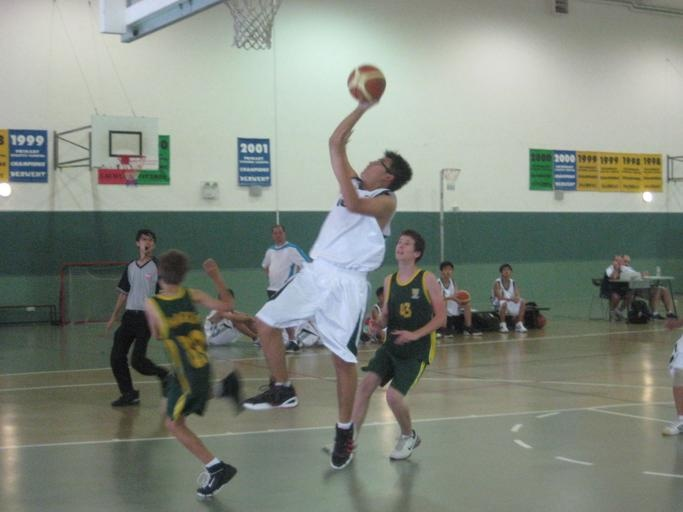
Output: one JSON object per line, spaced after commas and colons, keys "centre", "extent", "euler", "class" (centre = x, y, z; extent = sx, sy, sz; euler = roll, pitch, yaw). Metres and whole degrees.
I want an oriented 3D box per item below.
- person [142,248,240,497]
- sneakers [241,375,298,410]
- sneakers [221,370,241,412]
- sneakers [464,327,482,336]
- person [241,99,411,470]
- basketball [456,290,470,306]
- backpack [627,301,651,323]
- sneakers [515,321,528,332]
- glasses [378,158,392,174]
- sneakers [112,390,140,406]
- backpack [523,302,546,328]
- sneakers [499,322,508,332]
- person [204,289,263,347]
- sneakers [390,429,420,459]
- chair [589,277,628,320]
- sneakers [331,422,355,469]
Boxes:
{"centre": [-1.060, 0.802, 4.436], "extent": [0.640, 1.689, 0.476], "euler": [-1, 2, -6], "class": "person"}
{"centre": [-0.612, 1.200, 5.438], "extent": [0.524, 0.319, 0.203], "euler": [2, -3, -8], "class": "sneakers"}
{"centre": [-0.820, 0.991, 4.565], "extent": [0.161, 0.272, 0.083], "euler": [3, -12, -27], "class": "sneakers"}
{"centre": [2.352, 1.363, 11.315], "extent": [0.283, 0.144, 0.132], "euler": [1, 0, 14], "class": "sneakers"}
{"centre": [-0.122, 0.210, 4.966], "extent": [1.113, 2.751, 0.657], "euler": [0, 2, 18], "class": "person"}
{"centre": [2.166, 0.756, 11.286], "extent": [0.224, 0.218, 0.203], "euler": [-1, 2, 7], "class": "basketball"}
{"centre": [5.888, 1.093, 12.372], "extent": [0.465, 0.454, 0.319], "euler": [0, 2, 14], "class": "backpack"}
{"centre": [3.333, 1.323, 11.631], "extent": [0.100, 0.144, 0.274], "euler": [-1, -3, -8], "class": "sneakers"}
{"centre": [0.350, -0.718, 5.022], "extent": [0.033, 0.131, 0.097], "euler": [-20, 1, -18], "class": "glasses"}
{"centre": [-2.211, 1.463, 6.443], "extent": [0.308, 0.165, 0.122], "euler": [-2, -5, 4], "class": "sneakers"}
{"centre": [3.788, 1.181, 12.301], "extent": [0.483, 0.550, 0.374], "euler": [0, 1, 2], "class": "backpack"}
{"centre": [3.022, 1.315, 11.670], "extent": [0.169, 0.193, 0.397], "euler": [0, 2, 15], "class": "sneakers"}
{"centre": [-1.763, 1.028, 10.113], "extent": [0.900, 0.898, 0.599], "euler": [-6, 5, -6], "class": "person"}
{"centre": [0.501, 1.490, 4.974], "extent": [0.113, 0.144, 0.329], "euler": [-16, 18, 41], "class": "sneakers"}
{"centre": [5.551, 0.942, 13.104], "extent": [0.828, 1.240, 1.172], "euler": [0, 0, 32], "class": "chair"}
{"centre": [0.011, 1.424, 4.758], "extent": [0.232, 0.333, 0.166], "euler": [-2, 2, -28], "class": "sneakers"}
